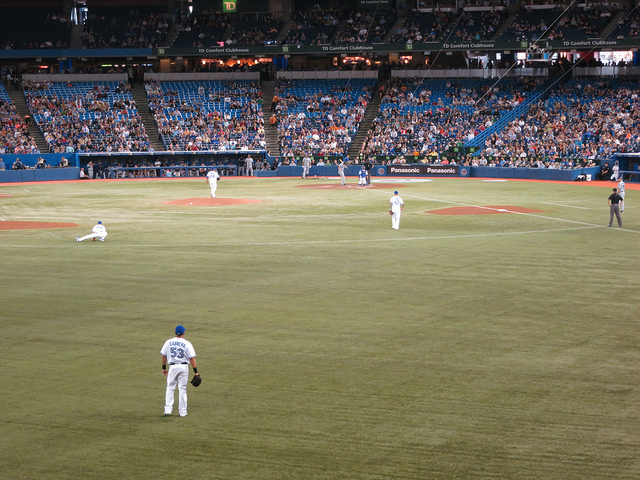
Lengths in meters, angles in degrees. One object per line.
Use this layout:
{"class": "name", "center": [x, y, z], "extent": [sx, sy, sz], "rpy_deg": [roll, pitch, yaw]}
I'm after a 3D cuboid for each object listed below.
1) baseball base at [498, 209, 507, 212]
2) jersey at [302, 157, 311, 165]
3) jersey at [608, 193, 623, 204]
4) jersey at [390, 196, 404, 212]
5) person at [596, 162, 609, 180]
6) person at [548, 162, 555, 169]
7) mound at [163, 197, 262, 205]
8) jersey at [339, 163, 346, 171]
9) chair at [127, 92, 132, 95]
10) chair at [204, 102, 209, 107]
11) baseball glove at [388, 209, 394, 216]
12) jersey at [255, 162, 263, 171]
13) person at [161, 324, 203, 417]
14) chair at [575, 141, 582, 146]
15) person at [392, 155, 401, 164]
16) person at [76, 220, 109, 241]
{"class": "baseball base", "center": [8.745, -1.428, 38.485], "extent": [0.455, 0.028, 0.536], "rpy_deg": [0, 12, 3]}
{"class": "jersey", "center": [-0.992, -6.168, 62.987], "extent": [0.853, 0.851, 0.548], "rpy_deg": [2, 8, 10]}
{"class": "jersey", "center": [12.097, -1.684, 32.749], "extent": [0.807, 0.570, 0.260], "rpy_deg": [3, 9, 18]}
{"class": "jersey", "center": [3.019, -1.379, 31.457], "extent": [0.394, 0.620, 0.480], "rpy_deg": [1, 12, 5]}
{"class": "person", "center": [19.777, -4.723, 56.015], "extent": [0.430, 1.070, 0.732], "rpy_deg": [-9, 15, -33]}
{"class": "person", "center": [16.813, -5.378, 58.234], "extent": [0.443, 0.391, 0.915], "rpy_deg": [2, 12, 14]}
{"class": "mound", "center": [-5.767, -2.076, 43.222], "extent": [4.659, 0.178, 3.322], "rpy_deg": [2, 12, 11]}
{"class": "jersey", "center": [1.515, -5.095, 55.382], "extent": [0.345, 0.392, 0.758], "rpy_deg": [0, 12, 2]}
{"class": "chair", "center": [-17.026, -13.089, 71.839], "extent": [0.376, 0.178, 0.336], "rpy_deg": [1, -1, -1]}
{"class": "chair", "center": [-10.207, -12.139, 72.018], "extent": [0.357, 0.232, 0.334], "rpy_deg": [0, -4, -2]}
{"class": "baseball glove", "center": [2.837, -1.150, 31.898], "extent": [0.129, 0.274, 0.222], "rpy_deg": [0, -9, 43]}
{"class": "jersey", "center": [-5.082, -6.019, 65.779], "extent": [0.767, 0.950, 0.559], "rpy_deg": [1, 1, -4]}
{"class": "person", "center": [-2.617, 2.377, 15.046], "extent": [0.721, 1.842, 1.384], "rpy_deg": [-3, 12, -9]}
{"class": "chair", "center": [19.163, -7.164, 59.421], "extent": [0.482, 0.251, 0.454], "rpy_deg": [3, 12, 16]}
{"class": "person", "center": [6.259, -6.567, 65.470], "extent": [0.584, 0.417, 1.137], "rpy_deg": [-6, 53, 8]}
{"class": "person", "center": [-8.032, -0.330, 29.341], "extent": [0.811, 0.417, 1.050], "rpy_deg": [7, 22, 8]}
